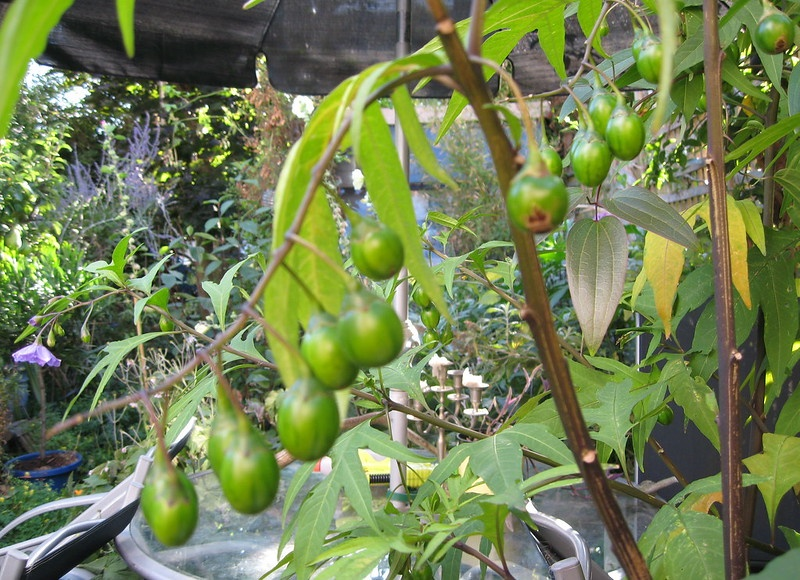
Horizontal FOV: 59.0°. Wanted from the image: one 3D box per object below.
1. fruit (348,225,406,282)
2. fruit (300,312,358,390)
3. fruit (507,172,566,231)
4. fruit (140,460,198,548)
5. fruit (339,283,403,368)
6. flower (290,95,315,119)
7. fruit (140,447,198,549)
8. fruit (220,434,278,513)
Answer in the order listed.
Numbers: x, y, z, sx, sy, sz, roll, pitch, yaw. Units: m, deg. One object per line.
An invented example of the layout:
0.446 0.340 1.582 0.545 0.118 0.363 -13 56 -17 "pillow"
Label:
-0.026 -0.050 0.901 0.069 0.073 0.037 -1 8 -5 "fruit"
-0.085 0.078 0.913 0.061 0.088 0.066 -23 -6 -27 "fruit"
0.173 -0.110 0.894 0.065 0.087 0.070 -7 14 21 "fruit"
-0.281 0.263 0.863 0.056 0.109 0.057 -7 10 -40 "fruit"
-0.035 0.045 0.868 0.079 0.101 0.036 -1 8 -3 "fruit"
-0.624 -1.196 4.667 0.134 0.190 0.572 -1 9 -6 "flower"
-0.289 0.251 0.896 0.057 0.121 0.055 -16 -2 15 "fruit"
-0.186 0.224 0.879 0.067 0.114 0.070 -4 19 -20 "fruit"
